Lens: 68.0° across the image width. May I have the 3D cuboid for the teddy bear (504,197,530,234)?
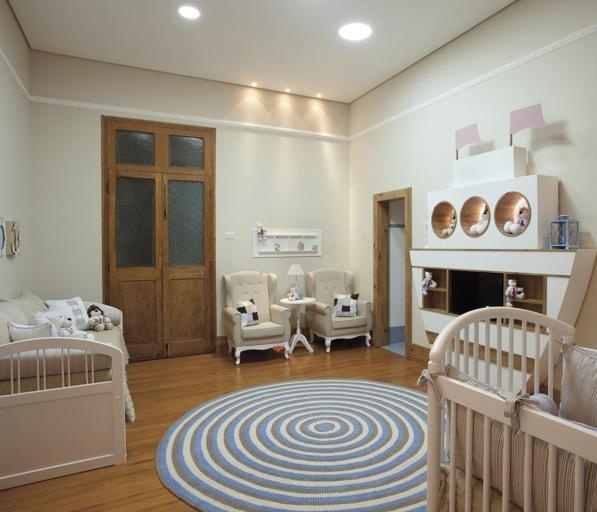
[{"bbox_3d":[1.945,-0.359,3.889,0.172,0.300,0.180,-5,9,13],"label":"teddy bear"}]

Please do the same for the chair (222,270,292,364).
[{"bbox_3d":[-0.572,0.773,5.784,0.841,1.113,0.807,-1,3,-13],"label":"chair"}]

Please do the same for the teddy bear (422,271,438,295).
[{"bbox_3d":[1.374,0.289,4.703,0.179,0.216,0.063,3,-4,25],"label":"teddy bear"}]

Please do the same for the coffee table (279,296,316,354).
[{"bbox_3d":[0.016,0.934,6.069,0.457,0.704,0.463,-1,-2,-45],"label":"coffee table"}]

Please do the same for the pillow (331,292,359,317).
[{"bbox_3d":[0.648,0.687,6.170,0.235,0.269,0.101,1,-24,7],"label":"pillow"}]

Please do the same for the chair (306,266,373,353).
[{"bbox_3d":[0.569,0.732,6.310,0.846,1.155,1.000,-1,-1,5],"label":"chair"}]

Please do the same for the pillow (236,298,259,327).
[{"bbox_3d":[-0.666,0.730,5.665,0.270,0.318,0.105,1,-23,-39],"label":"pillow"}]

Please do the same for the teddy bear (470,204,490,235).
[{"bbox_3d":[1.681,-0.349,4.210,0.090,0.279,0.218,11,15,5],"label":"teddy bear"}]

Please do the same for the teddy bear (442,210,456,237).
[{"bbox_3d":[1.594,-0.354,4.633,0.077,0.237,0.199,2,33,11],"label":"teddy bear"}]
